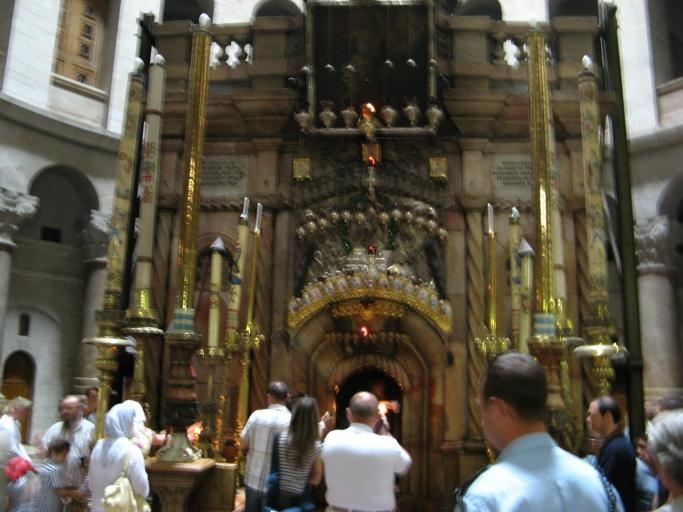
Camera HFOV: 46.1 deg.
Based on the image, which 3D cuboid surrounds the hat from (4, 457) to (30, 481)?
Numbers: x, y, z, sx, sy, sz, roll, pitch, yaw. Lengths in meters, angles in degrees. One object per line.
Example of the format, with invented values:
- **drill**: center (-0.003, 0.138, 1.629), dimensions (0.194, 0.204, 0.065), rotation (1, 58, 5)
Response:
- **hat**: center (-3.262, 2.155, 8.106), dimensions (0.199, 0.293, 0.091), rotation (16, 2, 21)
